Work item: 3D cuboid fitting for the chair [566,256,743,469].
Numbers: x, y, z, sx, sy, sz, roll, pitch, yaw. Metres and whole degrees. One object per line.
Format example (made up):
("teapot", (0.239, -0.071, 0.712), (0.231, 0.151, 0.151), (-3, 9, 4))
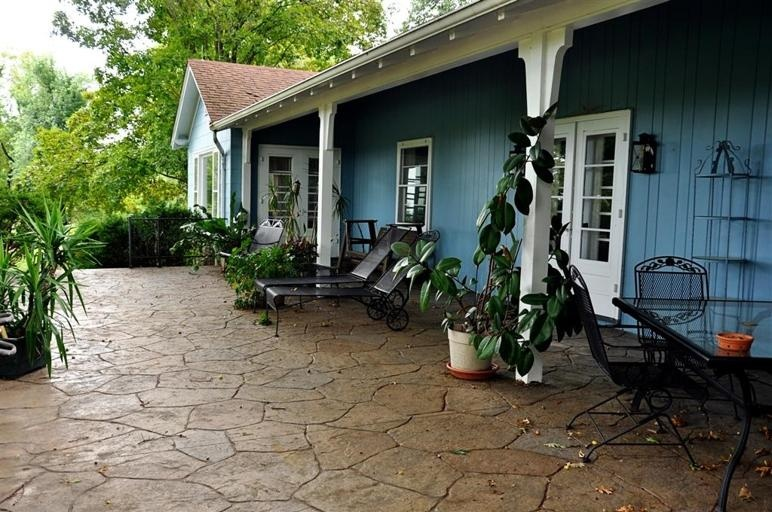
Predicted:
("chair", (2.324, 0.910, 4.741), (1.771, 1.839, 1.349), (-1, -1, -1))

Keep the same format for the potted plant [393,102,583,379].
("potted plant", (1.048, -0.185, 5.681), (1.457, 2.805, 2.881), (2, 14, 3))

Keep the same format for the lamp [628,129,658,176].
("lamp", (3.050, -1.248, 6.336), (0.142, 0.498, 0.373), (-9, 18, -33))

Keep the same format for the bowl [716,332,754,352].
("bowl", (2.180, 0.555, 3.327), (0.150, 0.054, 0.146), (-2, 3, 0))

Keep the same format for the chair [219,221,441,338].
("chair", (-0.576, 0.291, 7.172), (2.394, 1.190, 1.481), (2, 2, -20))
